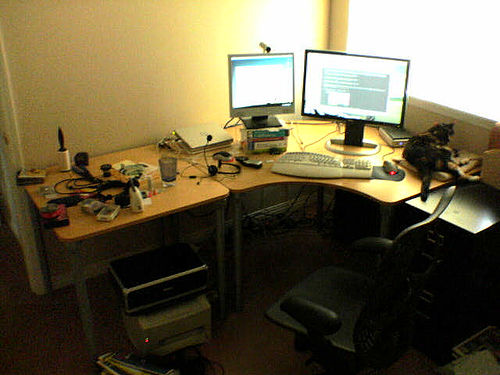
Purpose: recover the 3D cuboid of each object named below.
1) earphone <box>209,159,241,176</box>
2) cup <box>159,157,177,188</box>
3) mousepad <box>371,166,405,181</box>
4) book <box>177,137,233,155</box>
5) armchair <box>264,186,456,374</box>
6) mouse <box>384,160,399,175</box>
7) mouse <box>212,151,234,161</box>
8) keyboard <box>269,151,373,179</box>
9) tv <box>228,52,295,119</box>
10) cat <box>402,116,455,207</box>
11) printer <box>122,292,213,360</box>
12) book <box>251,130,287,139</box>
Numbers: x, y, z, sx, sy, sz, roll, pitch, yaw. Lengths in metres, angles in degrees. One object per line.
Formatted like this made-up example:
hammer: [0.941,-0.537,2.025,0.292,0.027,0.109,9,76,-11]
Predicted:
earphone: [-0.175,-0.116,2.861,0.141,0.040,0.119,9,27,11]
cup: [-0.526,-0.112,2.815,0.109,0.147,0.215,-9,26,-11]
mousepad: [0.905,-0.084,2.849,0.189,0.032,0.100,7,39,25]
book: [-0.321,-0.311,3.142,0.399,0.088,0.192,-7,26,-9]
armchair: [0.545,0.600,2.250,0.727,1.290,0.745,19,28,40]
mouse: [0.949,-0.139,2.883,0.073,0.035,0.101,-10,39,0]
mouse: [-0.185,-0.226,3.041,0.096,0.031,0.071,9,26,12]
keyboard: [0.487,-0.147,2.914,0.713,0.104,0.265,0,26,6]
tv: [0.080,-0.757,3.155,0.505,0.423,0.039,-5,22,-11]
cat: [1.198,-0.258,2.886,0.324,0.224,0.754,10,49,22]
printer: [-0.475,0.865,2.641,0.483,0.276,0.150,-12,27,-18]
book: [0.136,-0.380,3.107,0.253,0.056,0.017,-7,26,-8]
